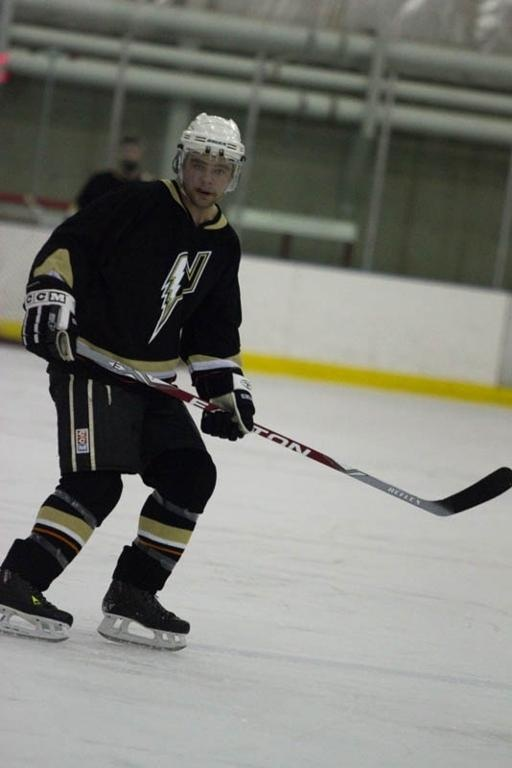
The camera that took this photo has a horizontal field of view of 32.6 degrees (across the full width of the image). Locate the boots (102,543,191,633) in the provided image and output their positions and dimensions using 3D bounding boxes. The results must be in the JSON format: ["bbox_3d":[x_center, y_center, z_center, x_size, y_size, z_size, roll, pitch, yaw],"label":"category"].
[{"bbox_3d":[-0.195,0.390,1.664,0.168,0.125,0.098,10,4,-1],"label":"boots"}]

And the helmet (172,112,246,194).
[{"bbox_3d":[-0.092,-0.460,1.786,0.154,0.156,0.175,15,7,-10],"label":"helmet"}]

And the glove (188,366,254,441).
[{"bbox_3d":[-0.076,0.041,1.836,0.077,0.144,0.170,-42,-31,28],"label":"glove"}]

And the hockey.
[{"bbox_3d":[0.303,0.168,3.326,2.010,0.210,0.140,19,-44,-14],"label":"hockey"}]

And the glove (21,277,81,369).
[{"bbox_3d":[-0.368,-0.118,1.591,0.090,0.110,0.090,9,4,-25],"label":"glove"}]
